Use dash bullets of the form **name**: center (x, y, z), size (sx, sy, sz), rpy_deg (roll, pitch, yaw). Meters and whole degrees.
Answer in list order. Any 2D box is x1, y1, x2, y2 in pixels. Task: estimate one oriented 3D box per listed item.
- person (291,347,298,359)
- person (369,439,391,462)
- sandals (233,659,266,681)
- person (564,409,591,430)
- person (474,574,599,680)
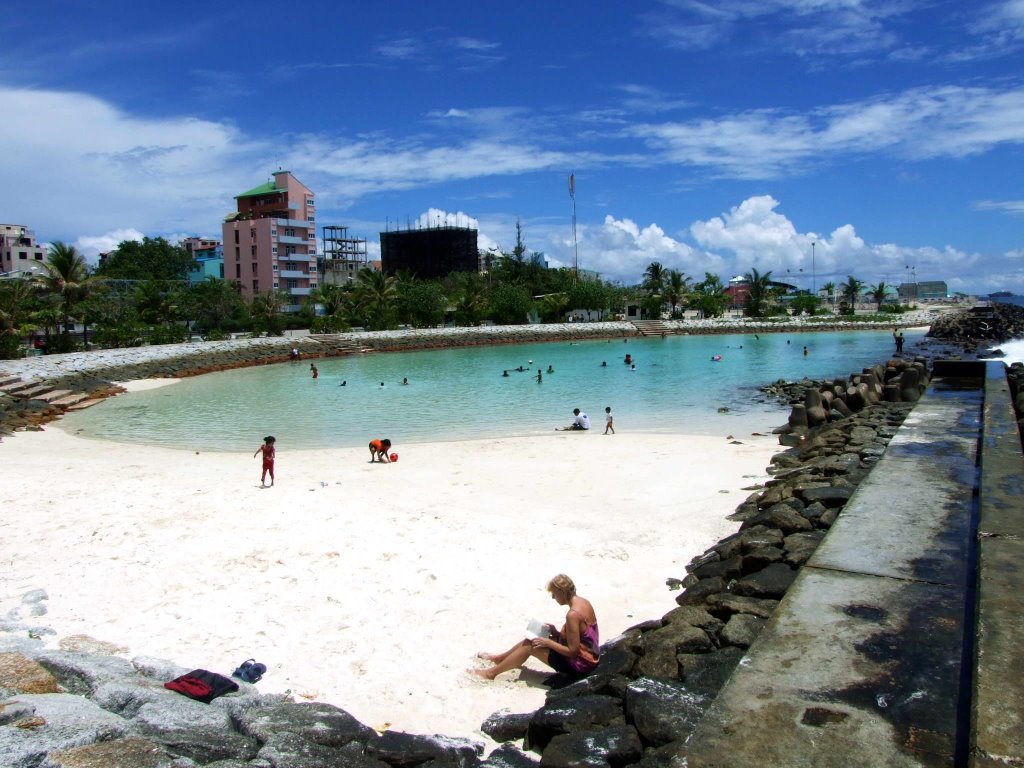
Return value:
- **person**: center (-18.398, -2.491, 65.026), size (0.552, 0.823, 0.987), rpy_deg (-2, 7, -4)
- **person**: center (-3.454, 1.696, 19.976), size (0.463, 0.530, 1.040), rpy_deg (-3, 7, -10)
- **sandals**: center (-3.006, 3.279, 8.841), size (0.371, 0.168, 0.161), rpy_deg (-5, 11, 6)
- **person**: center (2.192, 1.191, 25.226), size (0.540, 0.690, 0.949), rpy_deg (-9, 15, -40)
- **person**: center (0.268, 2.858, 9.010), size (1.661, 1.009, 0.736), rpy_deg (-10, -13, 21)
